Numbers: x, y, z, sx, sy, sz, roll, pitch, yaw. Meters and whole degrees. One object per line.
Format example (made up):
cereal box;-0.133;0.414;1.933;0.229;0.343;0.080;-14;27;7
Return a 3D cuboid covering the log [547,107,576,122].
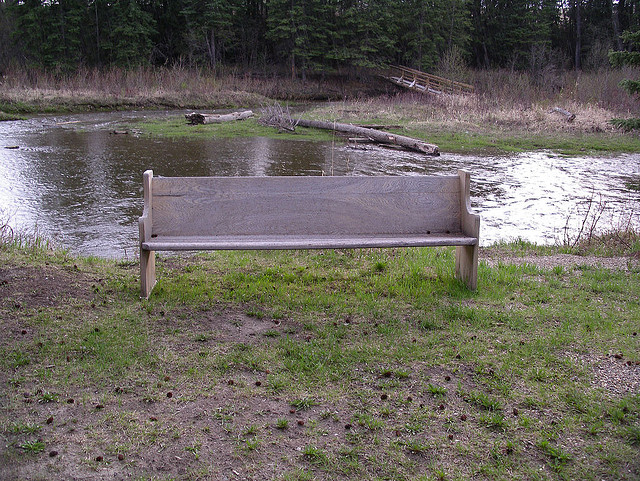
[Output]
log;9.138;-4.698;26.345;0.335;0.380;1.306;-9;17;-6

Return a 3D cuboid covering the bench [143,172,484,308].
bench;-0.106;-0.178;8.821;4.109;1.348;0.503;1;11;-5

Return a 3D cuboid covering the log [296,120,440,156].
log;1.464;-3.099;21.565;0.833;0.682;7.981;12;6;-26
